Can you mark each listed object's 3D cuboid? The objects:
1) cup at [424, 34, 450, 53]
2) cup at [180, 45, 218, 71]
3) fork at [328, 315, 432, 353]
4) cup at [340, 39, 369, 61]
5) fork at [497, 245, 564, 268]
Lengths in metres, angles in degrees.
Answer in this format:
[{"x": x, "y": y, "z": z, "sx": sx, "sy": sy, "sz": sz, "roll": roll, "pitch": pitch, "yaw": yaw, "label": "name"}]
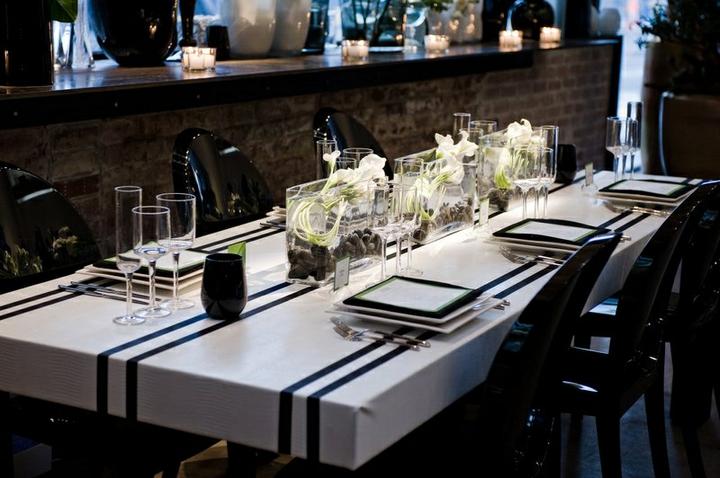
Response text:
[{"x": 0.667, "y": -1.647, "z": 4.575, "sx": 0.205, "sy": 0.127, "sz": 0.203, "roll": 0, "pitch": 14, "yaw": 0, "label": "cup"}, {"x": -0.906, "y": -0.983, "z": 2.969, "sx": 0.164, "sy": 0.124, "sz": 0.163, "roll": -1, "pitch": 5, "yaw": 0, "label": "cup"}, {"x": 0.015, "y": 0.213, "z": 1.289, "sx": 0.310, "sy": 0.053, "sz": 0.075, "roll": 9, "pitch": 11, "yaw": 27, "label": "fork"}, {"x": -0.034, "y": -1.340, "z": 3.804, "sx": 0.188, "sy": 0.147, "sz": 0.220, "roll": -2, "pitch": 16, "yaw": -2, "label": "cup"}, {"x": 0.593, "y": 0.068, "z": 1.836, "sx": 0.178, "sy": 0.033, "sz": 0.028, "roll": 17, "pitch": 16, "yaw": 24, "label": "fork"}]
